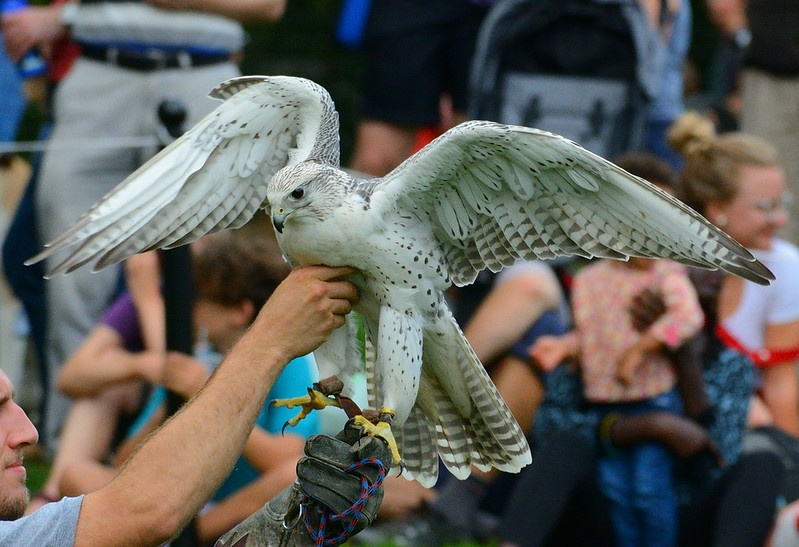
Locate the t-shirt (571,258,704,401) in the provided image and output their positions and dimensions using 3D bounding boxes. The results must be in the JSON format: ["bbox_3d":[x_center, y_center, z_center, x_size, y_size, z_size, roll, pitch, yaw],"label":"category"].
[{"bbox_3d":[1.226,0.297,9.205,0.239,0.657,0.704,7,-11,-44],"label":"t-shirt"}]

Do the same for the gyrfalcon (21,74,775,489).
[{"bbox_3d":[-0.137,0.067,8.280,3.736,1.742,1.813,5,3,23],"label":"gyrfalcon"}]
